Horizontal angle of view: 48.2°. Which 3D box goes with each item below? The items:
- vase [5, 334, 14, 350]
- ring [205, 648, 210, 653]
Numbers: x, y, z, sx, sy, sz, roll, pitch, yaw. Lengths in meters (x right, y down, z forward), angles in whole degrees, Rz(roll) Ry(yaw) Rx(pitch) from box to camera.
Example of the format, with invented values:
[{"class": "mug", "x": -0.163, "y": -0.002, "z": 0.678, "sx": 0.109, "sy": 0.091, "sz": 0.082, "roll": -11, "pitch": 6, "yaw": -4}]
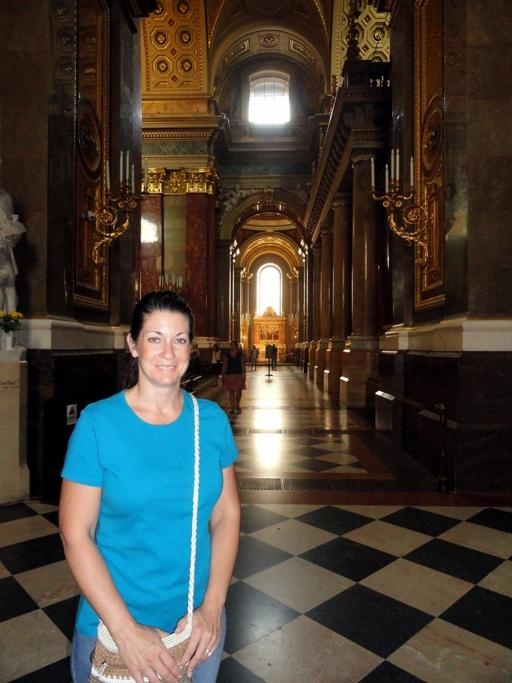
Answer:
[{"class": "vase", "x": -1.798, "y": -0.010, "z": 4.203, "sx": 0.048, "sy": 0.128, "sz": 0.067, "roll": 0, "pitch": 1, "yaw": 43}, {"class": "ring", "x": -0.117, "y": 0.751, "z": 1.383, "sx": 0.004, "sy": 0.010, "sz": 0.019, "roll": 0, "pitch": 1, "yaw": 14}]
